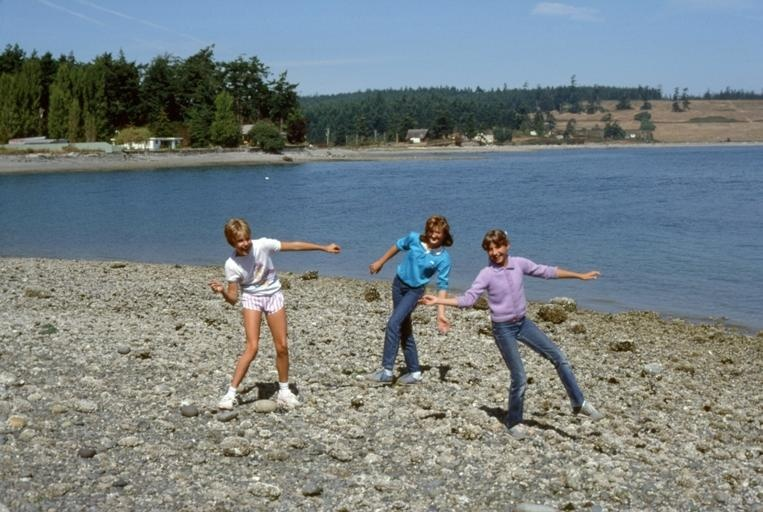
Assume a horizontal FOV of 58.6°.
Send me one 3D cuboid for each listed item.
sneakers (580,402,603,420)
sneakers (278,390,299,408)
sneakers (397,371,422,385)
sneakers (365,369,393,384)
[{"bbox_3d":[3.432,2.550,11.148,0.189,0.192,0.468,-7,17,-43],"label":"sneakers"},{"bbox_3d":[-1.548,2.361,11.319,0.426,0.179,0.222,14,23,32],"label":"sneakers"},{"bbox_3d":[0.512,2.198,12.247,0.427,0.176,0.214,2,0,8],"label":"sneakers"},{"bbox_3d":[-0.029,2.161,12.217,0.404,0.166,0.258,5,5,15],"label":"sneakers"}]
